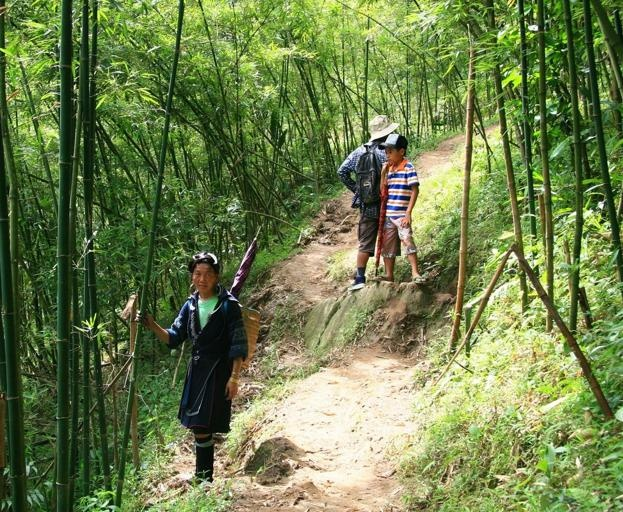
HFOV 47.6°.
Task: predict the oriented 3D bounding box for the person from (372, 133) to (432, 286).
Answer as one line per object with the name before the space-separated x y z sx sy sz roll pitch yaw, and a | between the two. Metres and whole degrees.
person | 0.624 -0.323 5.311 0.296 1.010 0.538 -7 -3 -14

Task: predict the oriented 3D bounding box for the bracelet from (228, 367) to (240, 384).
bracelet | -0.424 0.665 4.005 0.036 0.077 0.097 10 23 -2

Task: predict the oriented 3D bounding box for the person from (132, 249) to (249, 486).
person | -0.677 0.655 4.070 0.677 1.020 0.612 -7 -3 -23

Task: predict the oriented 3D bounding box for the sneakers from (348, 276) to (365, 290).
sneakers | 0.372 0.214 5.716 0.064 0.087 0.181 -12 3 34

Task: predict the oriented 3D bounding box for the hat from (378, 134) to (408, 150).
hat | 0.610 -0.827 5.136 0.155 0.088 0.106 11 9 -14

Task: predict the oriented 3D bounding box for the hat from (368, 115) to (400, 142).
hat | 0.574 -1.012 5.570 0.220 0.104 0.230 -24 34 35
